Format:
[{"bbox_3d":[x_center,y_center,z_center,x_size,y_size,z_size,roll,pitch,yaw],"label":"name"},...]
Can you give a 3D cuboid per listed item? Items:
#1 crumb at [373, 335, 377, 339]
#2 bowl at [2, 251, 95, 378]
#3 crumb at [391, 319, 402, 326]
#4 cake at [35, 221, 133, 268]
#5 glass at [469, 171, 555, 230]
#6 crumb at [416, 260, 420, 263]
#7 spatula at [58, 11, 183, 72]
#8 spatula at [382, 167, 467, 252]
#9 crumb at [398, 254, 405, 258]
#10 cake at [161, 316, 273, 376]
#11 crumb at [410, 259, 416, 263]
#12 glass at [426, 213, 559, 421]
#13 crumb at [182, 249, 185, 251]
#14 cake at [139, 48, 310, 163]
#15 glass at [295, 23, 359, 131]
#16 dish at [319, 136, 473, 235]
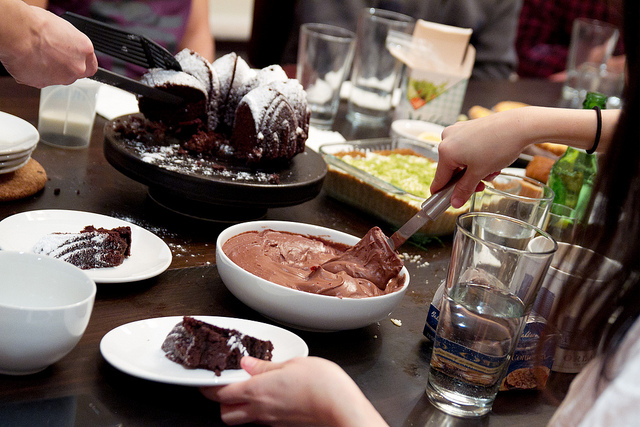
[{"bbox_3d":[0.126,0.283,1.176,0.004,0.004,0.004,-8,15,-42],"label":"crumb"},{"bbox_3d":[-0.501,0.187,0.931,0.177,0.118,0.165,23,10,-4],"label":"bowl"},{"bbox_3d":[0.186,0.262,1.235,0.018,0.006,0.010,27,31,25],"label":"crumb"},{"bbox_3d":[-0.539,0.069,1.180,0.142,0.058,0.108,2,11,-4],"label":"cake"},{"bbox_3d":[0.512,-0.042,1.351,0.190,0.140,0.163,14,12,-6],"label":"glass"},{"bbox_3d":[0.286,0.140,1.496,0.007,0.004,0.010,3,2,37],"label":"crumb"},{"bbox_3d":[-0.594,-0.513,1.544,0.365,0.107,0.100,15,30,9],"label":"spatula"},{"bbox_3d":[0.294,0.000,1.444,0.050,0.050,0.339,41,71,18],"label":"spatula"},{"bbox_3d":[0.236,0.124,1.477,0.014,0.006,0.015,5,0,44],"label":"crumb"},{"bbox_3d":[-0.193,0.250,0.983,0.149,0.059,0.110,21,3,14],"label":"cake"},{"bbox_3d":[0.270,0.138,1.490,0.011,0.002,0.023,24,32,23],"label":"crumb"},{"bbox_3d":[0.325,0.179,1.098,0.240,0.466,0.216,-8,18,-38],"label":"glass"},{"bbox_3d":[-0.353,0.094,1.316,0.004,0.003,0.004,11,13,30],"label":"crumb"},{"bbox_3d":[-0.284,-0.336,1.580,0.514,0.236,0.350,13,29,5],"label":"cake"},{"bbox_3d":[-0.001,-0.607,2.400,0.259,0.402,0.261,11,9,25],"label":"glass"},{"bbox_3d":[0.013,-0.075,1.789,0.330,0.129,0.396,-4,-18,42],"label":"dish"}]
